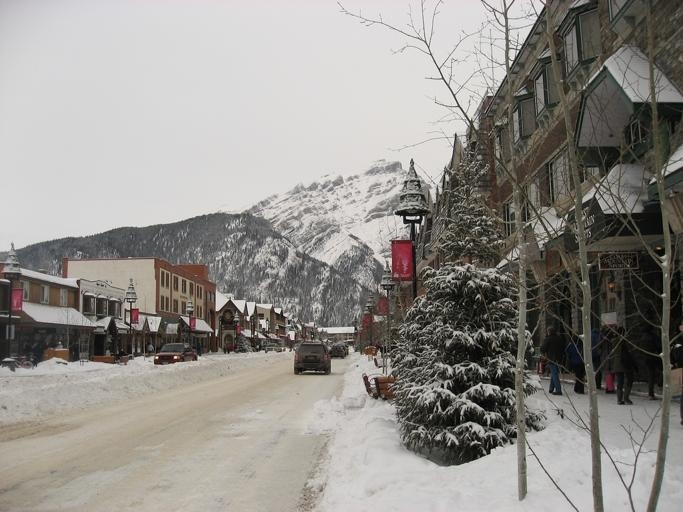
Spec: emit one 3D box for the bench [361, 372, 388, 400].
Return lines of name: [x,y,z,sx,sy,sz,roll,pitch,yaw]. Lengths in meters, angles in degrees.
bench: [0.957,3.737,19.181,0.574,0.782,2.101,-1,-15,-3]

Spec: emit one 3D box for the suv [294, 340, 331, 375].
suv: [-1.534,5.237,35.285,1.797,1.393,1.125,2,-13,-14]

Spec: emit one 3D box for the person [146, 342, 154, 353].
person: [-18.489,8.852,64.700,0.588,1.425,0.680,-1,-2,-1]
